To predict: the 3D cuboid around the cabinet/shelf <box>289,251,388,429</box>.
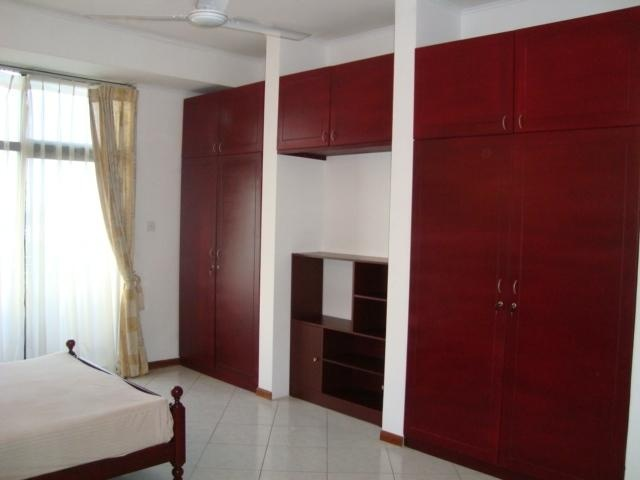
[{"bbox_3d":[0.179,0.943,4.864,1.248,1.511,0.391,4,2,45],"label":"cabinet/shelf"}]
